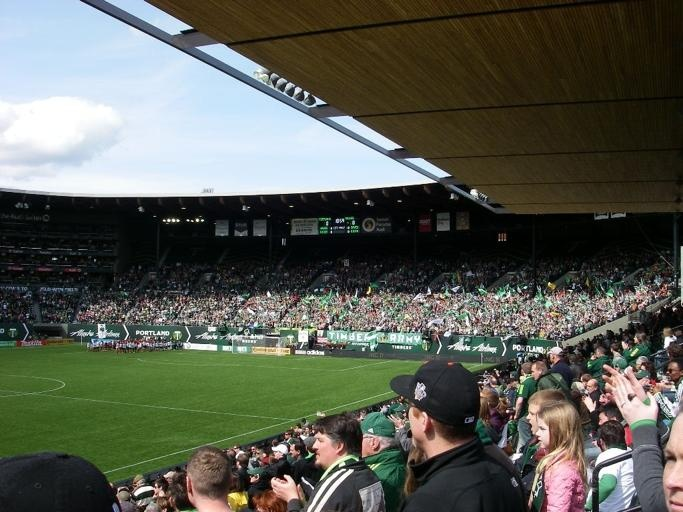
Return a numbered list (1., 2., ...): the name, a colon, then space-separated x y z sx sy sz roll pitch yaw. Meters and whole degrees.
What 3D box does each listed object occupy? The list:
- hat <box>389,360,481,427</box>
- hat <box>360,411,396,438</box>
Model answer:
1. hat: 0.590 0.832 3.875 0.376 0.257 0.534 -1 16 -45
2. hat: 0.293 1.421 5.142 0.200 0.113 0.283 4 3 -40
